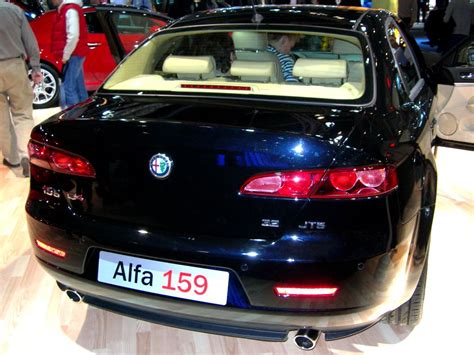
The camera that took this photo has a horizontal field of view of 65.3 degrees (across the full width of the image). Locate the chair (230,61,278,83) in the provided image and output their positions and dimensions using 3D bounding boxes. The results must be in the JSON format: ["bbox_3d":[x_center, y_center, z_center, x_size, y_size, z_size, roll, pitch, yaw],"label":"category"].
[{"bbox_3d":[0.103,-0.567,1.956,0.248,0.102,0.131,7,44,11],"label":"chair"}]

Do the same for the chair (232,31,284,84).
[{"bbox_3d":[0.080,-0.717,2.329,0.258,0.320,0.254,-7,-13,-3],"label":"chair"}]
